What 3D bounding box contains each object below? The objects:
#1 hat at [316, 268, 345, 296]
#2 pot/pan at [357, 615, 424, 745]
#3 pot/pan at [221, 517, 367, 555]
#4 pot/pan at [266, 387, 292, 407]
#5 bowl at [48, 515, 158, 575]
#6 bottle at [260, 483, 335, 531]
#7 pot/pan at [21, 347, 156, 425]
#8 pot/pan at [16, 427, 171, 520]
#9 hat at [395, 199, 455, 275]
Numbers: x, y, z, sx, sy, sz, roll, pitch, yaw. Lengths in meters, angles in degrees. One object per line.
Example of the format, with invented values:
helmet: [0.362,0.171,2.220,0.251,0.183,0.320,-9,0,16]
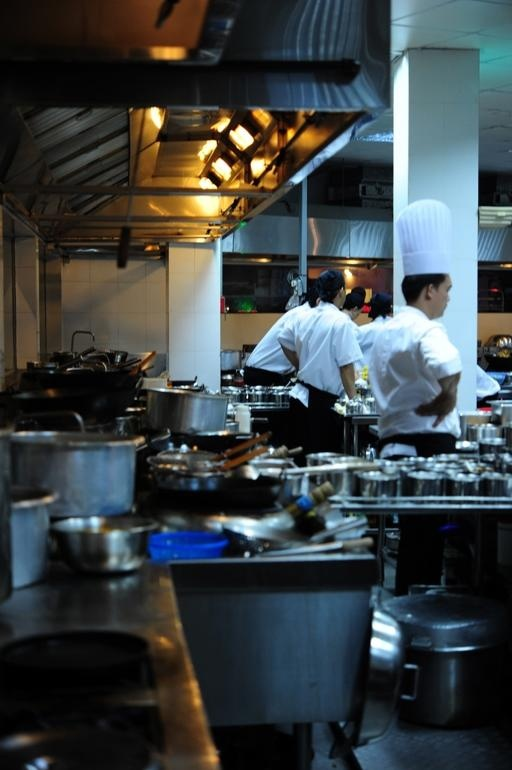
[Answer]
hat: [0.437,-0.590,4.190,0.124,0.168,0.135,7,-30,19]
pot/pan: [0.211,0.466,1.163,0.067,0.199,0.161,2,1,24]
pot/pan: [0.071,0.261,1.208,0.256,0.041,0.158,2,1,-5]
pot/pan: [0.159,0.086,4.814,0.128,0.130,0.126,1,-4,-9]
bowl: [-0.218,0.229,1.024,0.145,0.058,0.127,2,1,-15]
bottle: [0.073,0.230,1.332,0.138,0.037,0.029,-31,-47,17]
pot/pan: [-0.585,-0.014,2.470,0.329,0.084,0.448,-4,13,25]
pot/pan: [-0.264,0.116,1.077,0.142,0.074,0.150,0,3,-23]
hat: [0.608,-0.535,2.631,0.191,0.272,0.270,2,1,10]
